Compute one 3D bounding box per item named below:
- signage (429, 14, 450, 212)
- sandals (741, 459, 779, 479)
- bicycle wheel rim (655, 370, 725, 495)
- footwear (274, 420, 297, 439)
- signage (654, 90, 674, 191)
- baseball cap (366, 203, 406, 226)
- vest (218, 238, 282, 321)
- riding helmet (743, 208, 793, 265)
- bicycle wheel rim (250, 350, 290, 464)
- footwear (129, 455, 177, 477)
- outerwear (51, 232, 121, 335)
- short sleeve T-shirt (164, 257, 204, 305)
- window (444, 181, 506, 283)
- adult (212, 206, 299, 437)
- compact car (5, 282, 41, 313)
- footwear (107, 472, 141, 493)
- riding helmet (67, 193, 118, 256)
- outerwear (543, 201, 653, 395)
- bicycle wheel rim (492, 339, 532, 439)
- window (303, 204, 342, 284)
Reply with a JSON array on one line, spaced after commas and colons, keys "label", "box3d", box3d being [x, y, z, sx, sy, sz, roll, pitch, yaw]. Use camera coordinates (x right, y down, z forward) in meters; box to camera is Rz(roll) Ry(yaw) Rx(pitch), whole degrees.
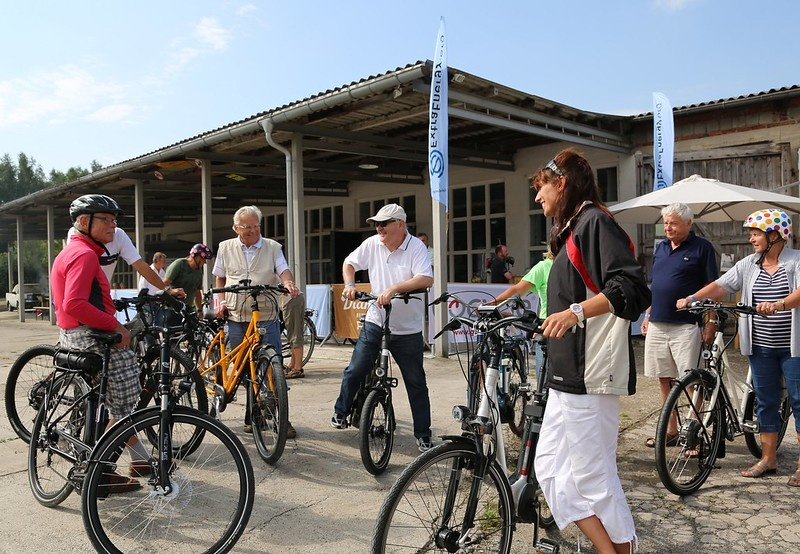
[{"label": "signage", "box3d": [0.536, -2.193, 10.762, 0.254, 2.443, 0.678, 1, 0, 2]}, {"label": "sandals", "box3d": [3.221, 1.732, 7.038, 0.316, 0.123, 0.136, 2, -14, -10]}, {"label": "bicycle wheel rim", "box3d": [2.502, 1.342, 6.817, 0.908, 1.135, 0.230, 1, 0, -36]}, {"label": "footwear", "box3d": [-1.081, 1.434, 7.325, 0.214, 0.267, 0.628, 0, -11, -7]}, {"label": "signage", "box3d": [4.306, -2.198, 12.830, 0.354, 1.702, 0.062, -4, 9, -6]}, {"label": "baseball cap", "box3d": [-0.073, -0.590, 7.364, 0.293, 0.162, 0.196, 2, -1, -28]}, {"label": "vest", "box3d": [-1.516, 0.038, 7.911, 0.803, 0.921, 0.523, 0, -6, -6]}, {"label": "riding helmet", "box3d": [3.403, -0.404, 7.276, 0.473, 0.594, 0.403, 2, -1, 20]}, {"label": "bicycle wheel rim", "box3d": [-1.175, 1.189, 7.207, 0.239, 1.013, 0.499, 1, 0, -38]}, {"label": "footwear", "box3d": [-1.875, 1.433, 5.965, 0.414, 0.191, 0.149, 3, -2, -16]}, {"label": "outerwear", "box3d": [-2.711, 0.047, 6.703, 0.499, 0.843, 0.982, -2, 5, -30]}, {"label": "short sleeve T-shirt", "box3d": [-2.735, 0.056, 9.964, 0.227, 0.562, 0.514, 22, 30, 35]}, {"label": "window", "box3d": [1.769, -1.429, 17.648, 1.363, 1.781, 0.070, -5, -33, 11]}, {"label": "adult", "box3d": [-1.428, 0.487, 7.994, 0.949, 2.457, 0.802, -3, 3, 6]}, {"label": "compact car", "box3d": [-13.671, 0.753, 28.398, 1.063, 0.931, 2.224, -2, 5, -37]}, {"label": "footwear", "box3d": [-2.214, 1.595, 6.050, 0.375, 0.160, 0.127, 2, -1, -10]}, {"label": "riding helmet", "box3d": [-2.640, -0.492, 6.791, 0.487, 0.599, 0.404, -4, 2, -11]}, {"label": "outerwear", "box3d": [1.376, 0.152, 5.435, 0.674, 1.359, 0.339, 1, 0, 9]}, {"label": "bicycle wheel rim", "box3d": [0.998, 0.938, 7.099, 0.533, 0.687, 1.151, -5, 7, 8]}, {"label": "window", "box3d": [-1.959, -0.843, 20.257, 0.096, 2.390, 2.132, -1, 1, -33]}]
